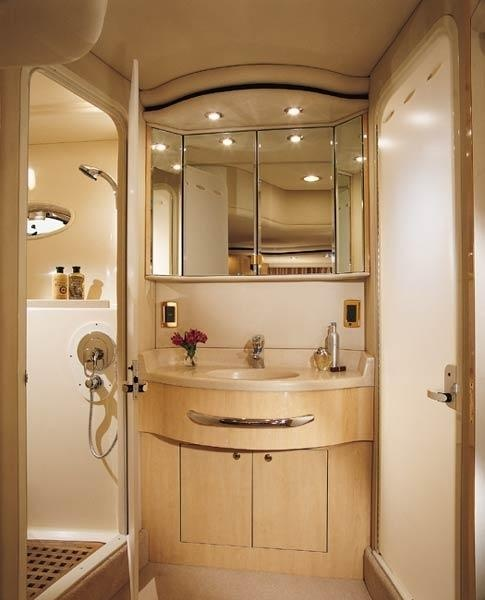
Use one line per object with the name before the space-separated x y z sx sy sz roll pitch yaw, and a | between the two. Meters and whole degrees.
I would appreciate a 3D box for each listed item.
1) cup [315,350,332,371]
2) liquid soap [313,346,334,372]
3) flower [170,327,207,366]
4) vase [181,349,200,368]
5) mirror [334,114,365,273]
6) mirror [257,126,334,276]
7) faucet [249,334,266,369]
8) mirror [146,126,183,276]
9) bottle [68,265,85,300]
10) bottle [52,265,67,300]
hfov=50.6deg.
cup | 0.353 0.264 2.288 0.070 0.105 0.069 -1 4 0
liquid soap | 0.367 0.258 2.289 0.071 0.120 0.085 -2 2 5
flower | -0.247 0.217 2.436 0.172 0.164 0.236 0 2 -8
vase | -0.252 0.258 2.414 0.065 0.127 0.070 4 8 25
mirror | 0.467 -0.461 2.247 0.043 0.666 0.181 -1 2 -36
mirror | 0.226 -0.385 2.337 0.346 0.860 0.016 0 -13 11
faucet | 0.069 0.237 2.409 0.073 0.144 0.141 0 2 1
mirror | -0.379 -0.378 2.428 0.127 0.051 0.650 13 -42 2
bottle | -0.810 -0.086 2.497 0.072 0.157 0.065 -1 2 -25
bottle | -0.892 -0.087 2.515 0.066 0.159 0.140 -1 2 -22
